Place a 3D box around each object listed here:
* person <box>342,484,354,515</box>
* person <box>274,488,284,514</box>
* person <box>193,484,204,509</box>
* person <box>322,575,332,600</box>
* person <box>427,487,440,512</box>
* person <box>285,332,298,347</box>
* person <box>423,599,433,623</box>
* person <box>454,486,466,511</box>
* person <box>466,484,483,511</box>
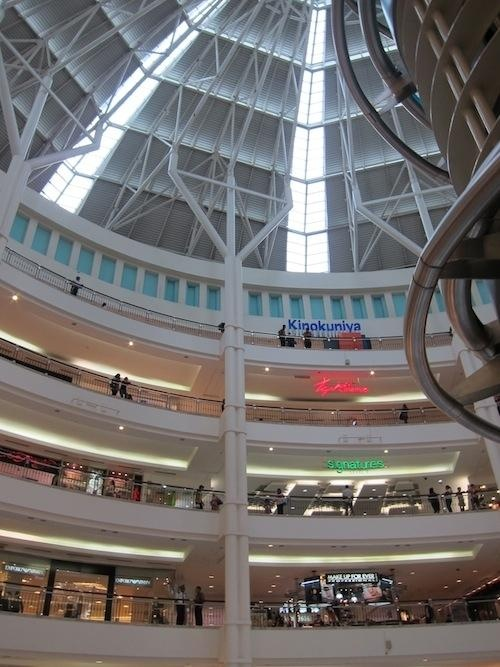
[{"bbox_3d":[4.700,8.115,22.873,0.616,1.389,0.503,31,-47,-34],"label":"person"},{"bbox_3d":[1.403,8.008,22.191,0.480,0.935,0.346,3,-37,-4],"label":"person"},{"bbox_3d":[-2.257,7.434,21.440,0.339,1.161,0.619,-15,-40,18],"label":"person"},{"bbox_3d":[3.182,10.691,19.784,0.491,1.017,0.589,-5,-37,6],"label":"person"},{"bbox_3d":[8.732,8.118,22.554,0.507,0.883,0.469,-8,-38,10],"label":"person"},{"bbox_3d":[2.590,0.445,29.999,0.703,1.266,0.676,2,-62,2],"label":"person"},{"bbox_3d":[7.101,11.172,18.981,0.407,0.739,0.374,-11,-38,13],"label":"person"},{"bbox_3d":[9.979,8.025,22.463,0.375,0.808,0.374,-11,-39,14],"label":"person"},{"bbox_3d":[10.607,7.907,22.434,0.665,0.891,0.448,-8,-38,9],"label":"person"}]
